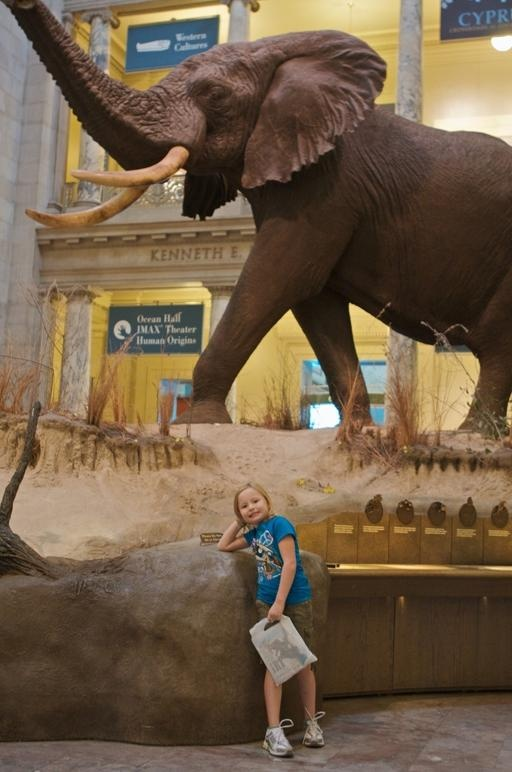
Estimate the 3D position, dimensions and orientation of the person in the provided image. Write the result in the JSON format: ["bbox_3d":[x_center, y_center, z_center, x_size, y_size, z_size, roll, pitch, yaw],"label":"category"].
[{"bbox_3d":[0.080,0.699,2.385,0.328,0.757,0.477,5,-4,-21],"label":"person"}]
